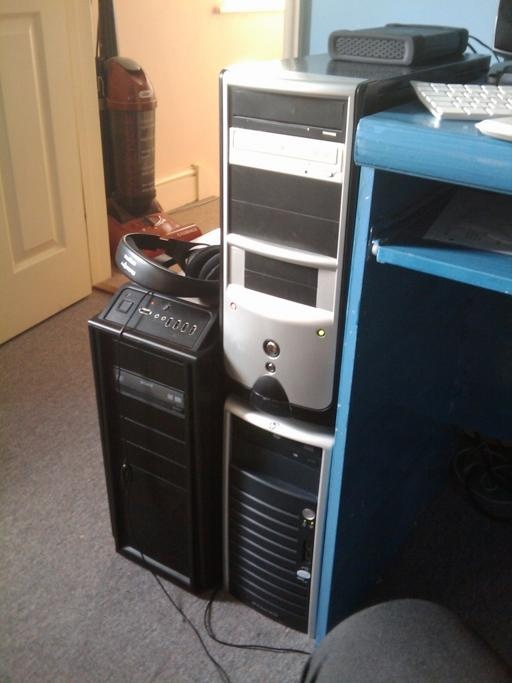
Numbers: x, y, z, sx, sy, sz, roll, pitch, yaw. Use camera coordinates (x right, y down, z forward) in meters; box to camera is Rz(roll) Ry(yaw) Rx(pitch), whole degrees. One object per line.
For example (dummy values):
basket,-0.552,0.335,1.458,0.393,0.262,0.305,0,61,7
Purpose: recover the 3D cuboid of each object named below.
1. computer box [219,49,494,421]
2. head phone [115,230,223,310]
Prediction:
computer box,0.141,-0.155,0.932,0.330,0.538,0.321,15,32,24
head phone,-0.137,-0.120,1.018,0.178,0.061,0.137,10,19,-33
